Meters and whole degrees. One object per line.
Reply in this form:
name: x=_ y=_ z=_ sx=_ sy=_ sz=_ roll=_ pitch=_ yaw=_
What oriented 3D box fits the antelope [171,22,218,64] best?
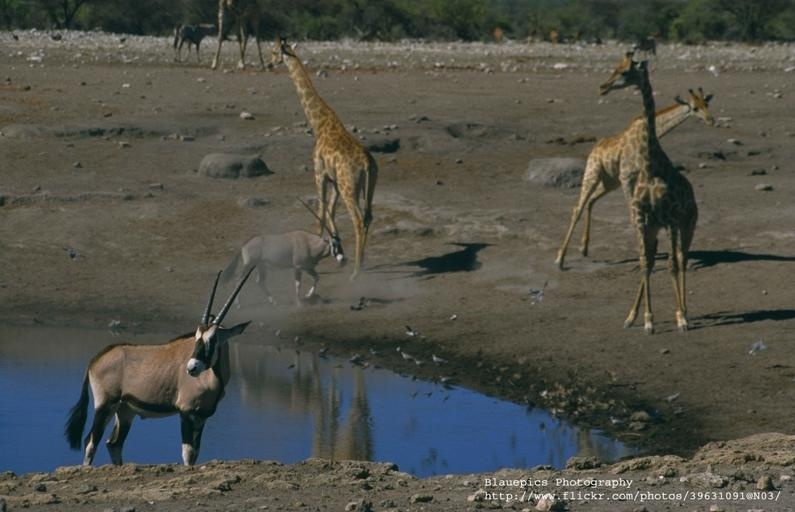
antelope: x=-8.943 y=-9.449 z=60.498 sx=2.070 sy=1.569 sz=0.560 roll=-8 pitch=20 yaw=-29

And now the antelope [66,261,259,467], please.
antelope: x=-5.395 y=2.480 z=31.934 sx=2.742 sy=4.574 sz=4.902 roll=2 pitch=-6 yaw=-21

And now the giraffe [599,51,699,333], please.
giraffe: x=6.153 y=-1.443 z=33.704 sx=1.563 sy=7.171 sz=4.540 roll=-2 pitch=0 yaw=29

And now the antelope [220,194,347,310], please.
antelope: x=-3.492 y=0.198 z=35.076 sx=4.449 sy=3.628 sz=1.366 roll=0 pitch=10 yaw=-4
